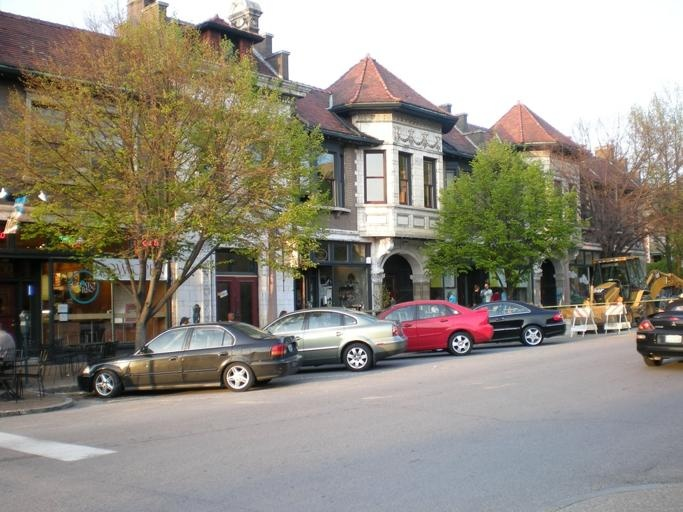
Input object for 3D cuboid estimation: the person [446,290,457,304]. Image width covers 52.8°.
[{"bbox_3d":[5.150,1.923,32.422,0.538,1.068,0.566,-3,2,7],"label":"person"}]
